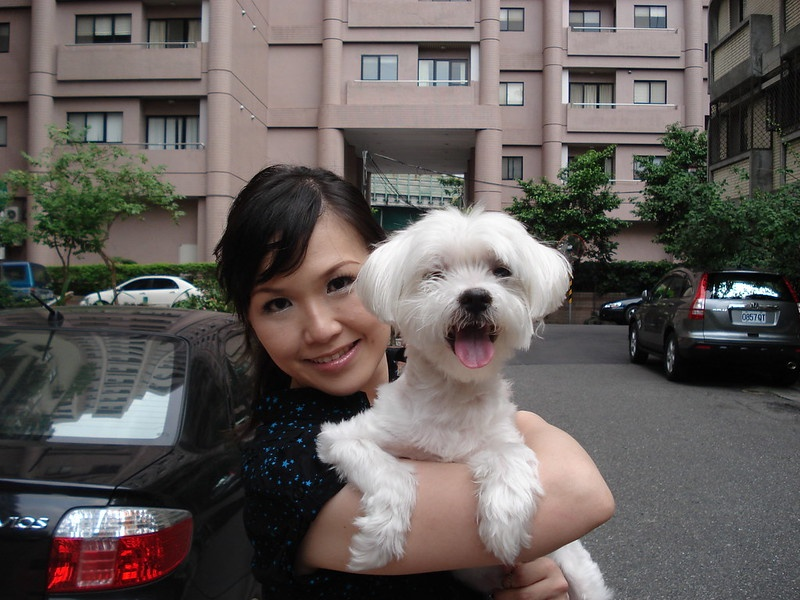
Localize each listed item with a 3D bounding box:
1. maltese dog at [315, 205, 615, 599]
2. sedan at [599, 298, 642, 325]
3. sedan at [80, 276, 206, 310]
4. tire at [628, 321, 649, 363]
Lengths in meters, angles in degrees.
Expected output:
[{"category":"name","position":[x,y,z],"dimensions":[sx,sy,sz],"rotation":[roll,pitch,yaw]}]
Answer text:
[{"category":"maltese dog","position":[0.217,0.493,2.796],"dimensions":[1.103,1.608,1.323],"rotation":[2,-30,6]},{"category":"sedan","position":[7.176,0.389,21.533],"dimensions":[1.420,0.672,0.814],"rotation":[4,-5,2]},{"category":"sedan","position":[-6.969,-0.249,18.099],"dimensions":[2.103,0.780,1.022],"rotation":[2,-5,-2]},{"category":"tire","position":[4.364,0.780,12.028],"dimensions":[0.230,0.775,0.732],"rotation":[-1,3,-9]}]
